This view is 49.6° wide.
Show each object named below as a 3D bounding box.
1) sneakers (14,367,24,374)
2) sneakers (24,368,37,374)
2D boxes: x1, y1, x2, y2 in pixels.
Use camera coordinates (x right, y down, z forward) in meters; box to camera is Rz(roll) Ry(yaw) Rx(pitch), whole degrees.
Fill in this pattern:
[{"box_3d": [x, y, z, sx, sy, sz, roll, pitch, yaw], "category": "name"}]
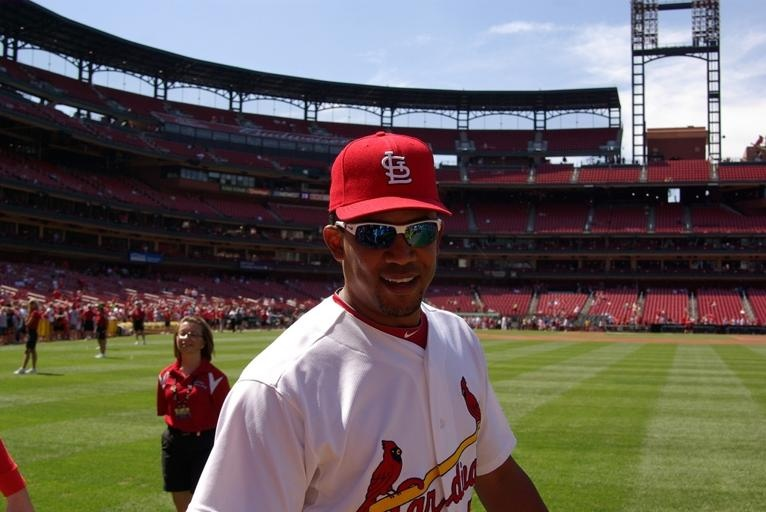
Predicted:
[{"box_3d": [-12.698, 4.092, 28.895, 0.202, 0.221, 0.532, 4, -8, -11], "category": "sneakers"}, {"box_3d": [-12.333, 4.079, 28.824, 0.434, 0.180, 0.184, 6, -4, -1], "category": "sneakers"}]
